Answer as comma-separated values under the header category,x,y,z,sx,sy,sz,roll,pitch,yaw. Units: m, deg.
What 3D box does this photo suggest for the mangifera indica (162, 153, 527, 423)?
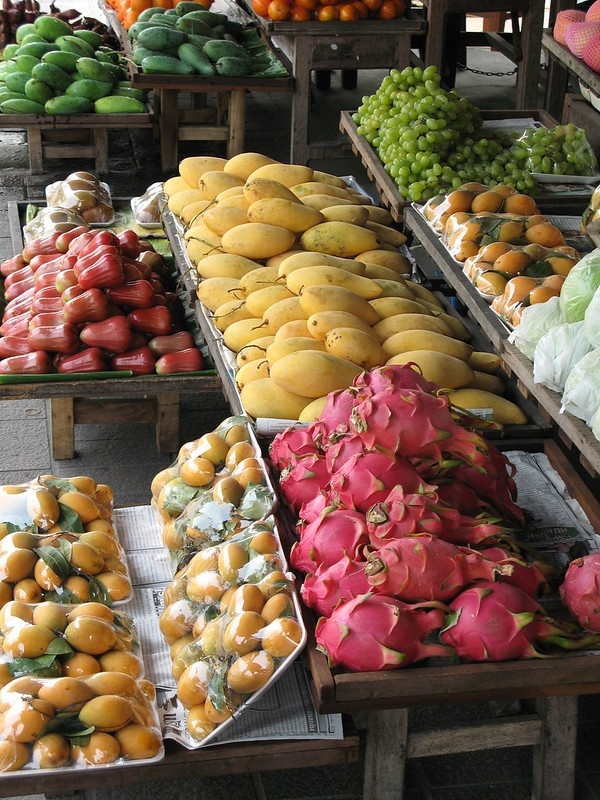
category,x,y,z,sx,sy,sz,roll,pitch,yaw
mangifera indica,0.141,-0.345,1.924,0.878,0.602,1.257,-14,31,-20
